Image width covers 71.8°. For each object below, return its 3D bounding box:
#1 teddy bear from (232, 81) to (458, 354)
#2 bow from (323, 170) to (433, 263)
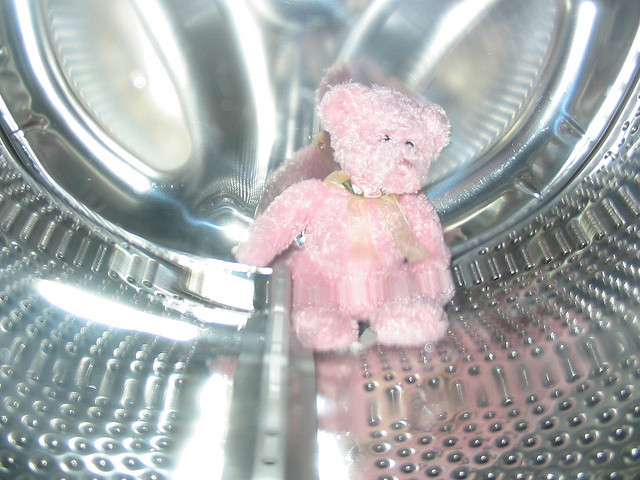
[{"bbox_3d":[0.047,-0.037,0.672,0.310,0.219,0.376,2,-73,-3],"label":"teddy bear"},{"bbox_3d":[0.074,-0.030,0.596,0.116,0.034,0.140,-5,-92,9],"label":"bow"}]
